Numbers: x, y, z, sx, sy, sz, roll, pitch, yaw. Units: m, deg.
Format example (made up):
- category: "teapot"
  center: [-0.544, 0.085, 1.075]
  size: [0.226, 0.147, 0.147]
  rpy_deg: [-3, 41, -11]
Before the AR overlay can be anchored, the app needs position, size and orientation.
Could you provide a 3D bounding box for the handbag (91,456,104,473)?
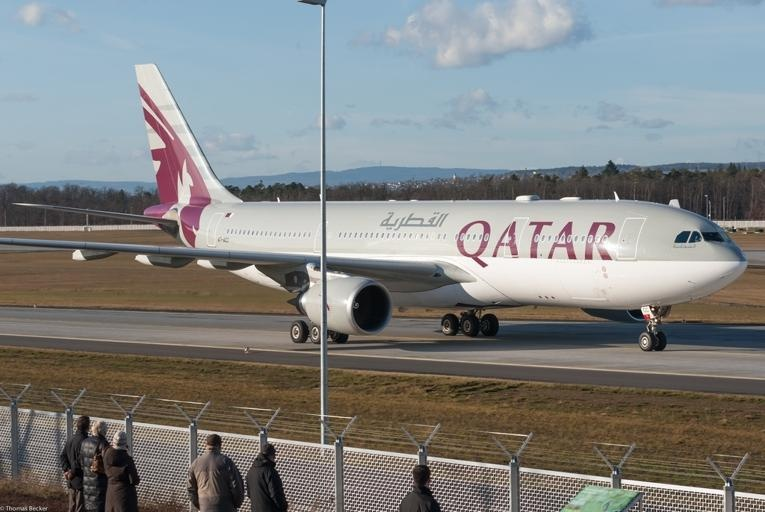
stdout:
- category: "handbag"
  center: [-5.445, 3.881, 17.271]
  size: [0.279, 0.380, 0.146]
  rpy_deg: [-1, 5, 0]
